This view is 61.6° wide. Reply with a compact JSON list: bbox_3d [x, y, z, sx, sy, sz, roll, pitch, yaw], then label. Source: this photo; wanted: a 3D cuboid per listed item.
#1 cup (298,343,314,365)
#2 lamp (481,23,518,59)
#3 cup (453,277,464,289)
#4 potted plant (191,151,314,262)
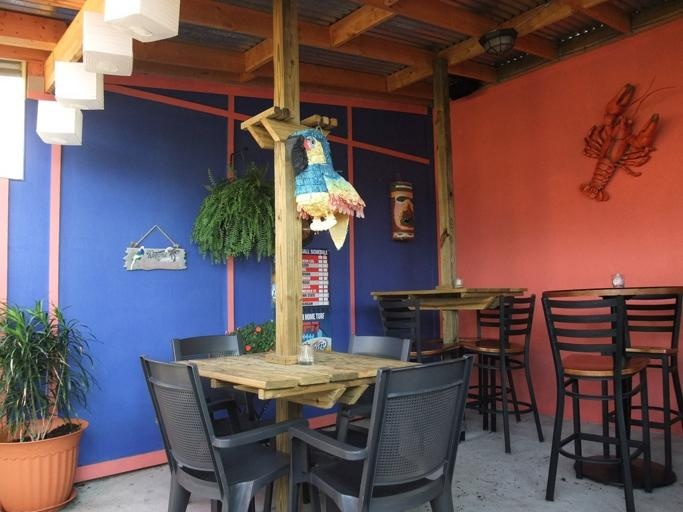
[{"bbox_3d":[-0.235,0.646,3.765,0.096,0.119,0.122,4,-7,-39],"label":"cup"},{"bbox_3d":[1.413,-1.978,5.170,0.311,0.251,0.206,-3,3,-11],"label":"lamp"},{"bbox_3d":[1.184,0.268,5.765,0.095,0.132,0.096,0,5,0],"label":"cup"},{"bbox_3d":[-0.819,-0.379,5.487,1.076,1.093,0.789,-1,5,-44],"label":"potted plant"}]
